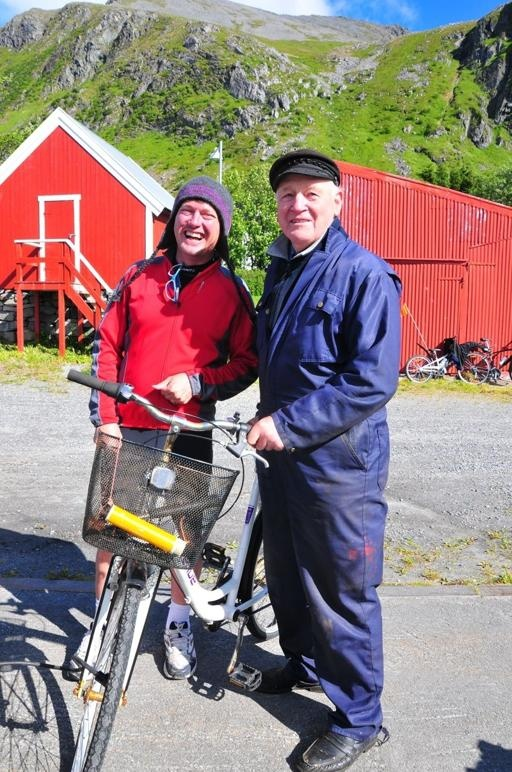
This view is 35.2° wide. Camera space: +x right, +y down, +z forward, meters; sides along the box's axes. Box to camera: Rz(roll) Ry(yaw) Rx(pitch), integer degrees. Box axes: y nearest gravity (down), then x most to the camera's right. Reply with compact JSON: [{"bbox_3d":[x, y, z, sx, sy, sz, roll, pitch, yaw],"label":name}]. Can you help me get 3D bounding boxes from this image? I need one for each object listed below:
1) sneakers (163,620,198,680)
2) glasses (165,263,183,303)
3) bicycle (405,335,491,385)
[{"bbox_3d":[-0.326,1.137,3.448,0.116,0.115,0.290,0,-4,-7],"label":"sneakers"},{"bbox_3d":[-0.354,-0.432,3.430,0.069,0.164,0.131,3,7,-6],"label":"glasses"},{"bbox_3d":[4.021,-0.517,16.932,1.983,0.976,0.895,-1,11,-2],"label":"bicycle"}]
